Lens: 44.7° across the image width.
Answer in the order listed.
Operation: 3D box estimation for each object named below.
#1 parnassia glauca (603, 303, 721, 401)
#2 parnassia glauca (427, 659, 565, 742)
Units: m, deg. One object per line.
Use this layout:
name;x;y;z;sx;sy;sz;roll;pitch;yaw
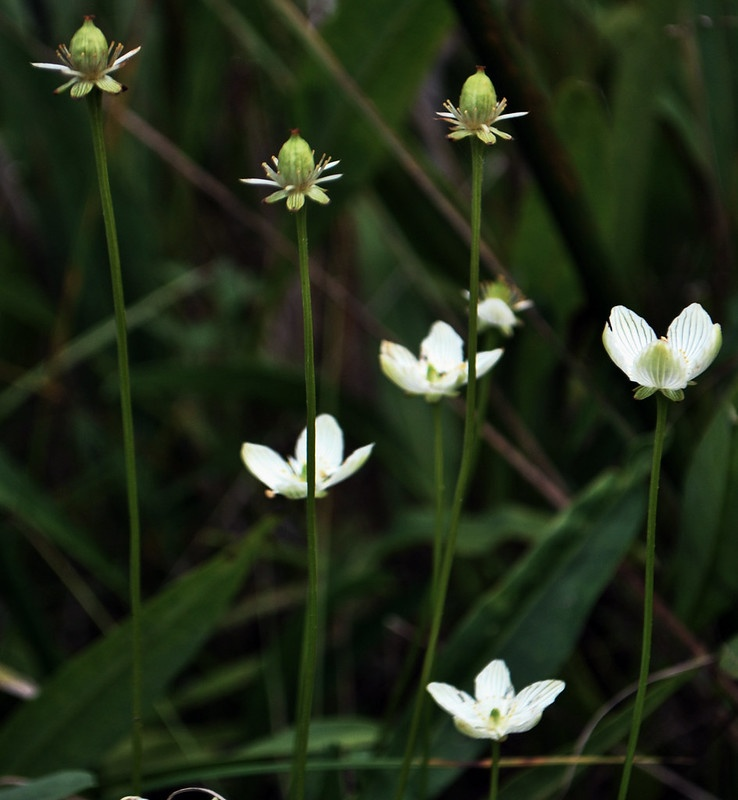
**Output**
parnassia glauca;0.168;-0.027;0.517;0.061;0.053;0.062;-8;-64;-34
parnassia glauca;0.072;0.185;0.520;0.071;0.082;0.044;-3;-88;35
